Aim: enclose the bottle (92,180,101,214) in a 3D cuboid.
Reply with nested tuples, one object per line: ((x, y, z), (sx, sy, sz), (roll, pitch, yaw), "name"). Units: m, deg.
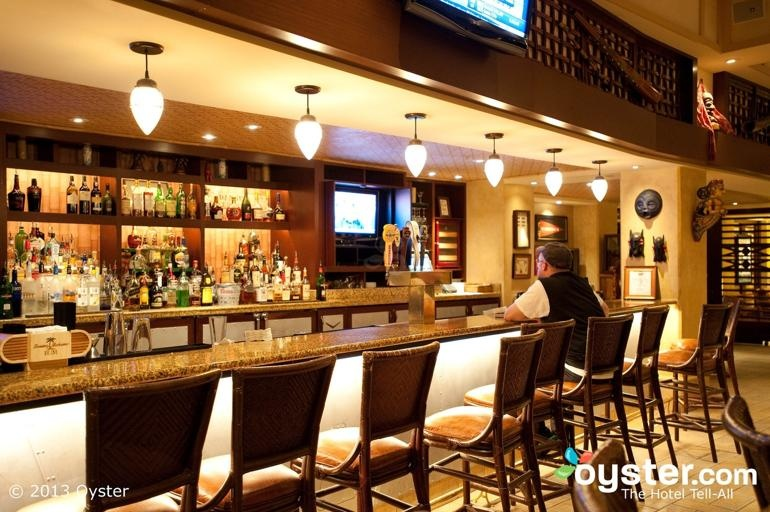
((-3.130, -0.634, 6.249), (0.101, 0.295, 0.286), (-4, 2, -26), "bottle")

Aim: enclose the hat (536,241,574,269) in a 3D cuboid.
((1.448, -0.006, 5.014), (0.219, 0.153, 0.292), (6, 24, -22), "hat")

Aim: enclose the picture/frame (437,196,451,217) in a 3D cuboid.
((0.993, -0.815, 9.787), (0.033, 0.439, 0.386), (-10, -7, 38), "picture/frame")

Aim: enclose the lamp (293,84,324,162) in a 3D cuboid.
((-0.607, -1.024, 4.595), (0.202, 0.506, 0.560), (-3, 2, -8), "lamp")

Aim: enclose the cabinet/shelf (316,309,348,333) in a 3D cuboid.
((-0.679, 0.822, 7.398), (0.431, 0.266, 0.280), (1, -2, -38), "cabinet/shelf")

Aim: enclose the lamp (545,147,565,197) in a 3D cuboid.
((1.989, -0.974, 6.770), (0.209, 0.553, 0.202), (-3, 6, -17), "lamp")

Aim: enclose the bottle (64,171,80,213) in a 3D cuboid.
((-3.337, -0.643, 6.149), (0.134, 0.321, 0.349), (-4, 2, -28), "bottle")

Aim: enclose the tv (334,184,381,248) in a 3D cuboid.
((-0.395, -0.568, 8.241), (0.107, 0.760, 1.079), (-6, 10, -39), "tv")

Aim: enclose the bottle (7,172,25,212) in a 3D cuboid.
((-3.751, -0.627, 5.858), (0.150, 0.312, 0.329), (-4, 3, -33), "bottle")

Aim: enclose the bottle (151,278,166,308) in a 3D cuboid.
((-2.523, 0.417, 6.385), (0.139, 0.218, 0.191), (-3, 2, -11), "bottle")

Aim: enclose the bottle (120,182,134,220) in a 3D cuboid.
((-2.875, -0.640, 6.437), (0.127, 0.285, 0.221), (-4, 2, -22), "bottle")

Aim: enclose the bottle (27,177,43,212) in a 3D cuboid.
((-3.611, -0.616, 5.930), (0.124, 0.284, 0.235), (-4, 3, -32), "bottle")

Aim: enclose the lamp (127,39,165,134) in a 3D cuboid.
((-1.583, -1.085, 3.855), (0.216, 0.401, 0.438), (-4, 2, -23), "lamp")

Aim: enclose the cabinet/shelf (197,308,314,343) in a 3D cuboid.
((-1.511, 0.844, 6.805), (0.259, 0.347, 1.573), (2, -1, 44), "cabinet/shelf")

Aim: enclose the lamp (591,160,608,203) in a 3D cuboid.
((2.671, -0.920, 7.162), (0.302, 0.508, 0.304), (0, 8, 18), "lamp")

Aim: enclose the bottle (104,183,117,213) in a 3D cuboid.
((-2.998, -0.605, 6.251), (0.106, 0.245, 0.147), (-5, 3, -44), "bottle")

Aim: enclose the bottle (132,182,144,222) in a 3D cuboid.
((-2.789, -0.624, 6.516), (0.131, 0.256, 0.234), (-4, 2, -23), "bottle")

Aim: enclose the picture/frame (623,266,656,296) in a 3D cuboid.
((3.458, 0.341, 7.780), (0.038, 0.442, 0.394), (9, -6, -43), "picture/frame")

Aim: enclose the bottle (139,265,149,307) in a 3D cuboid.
((-2.637, 0.373, 6.296), (0.108, 0.277, 0.140), (-4, 2, -22), "bottle")
